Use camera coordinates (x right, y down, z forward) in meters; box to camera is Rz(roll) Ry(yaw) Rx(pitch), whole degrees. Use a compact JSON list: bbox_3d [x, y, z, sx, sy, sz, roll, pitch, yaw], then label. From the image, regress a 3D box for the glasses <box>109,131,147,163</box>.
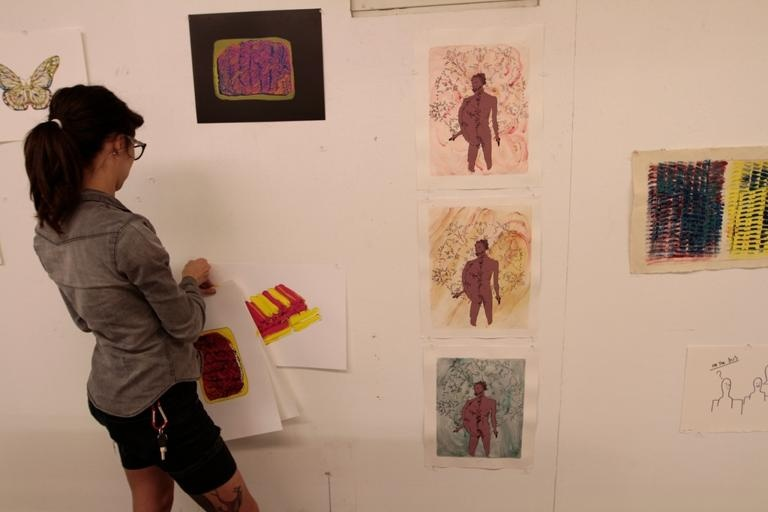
[{"bbox_3d":[-0.844,-0.344,2.101,0.107,0.036,0.106,7,-16,-39],"label":"glasses"}]
